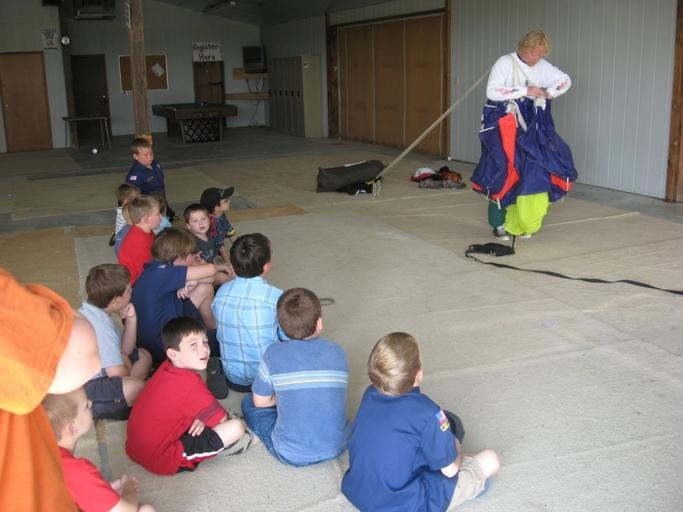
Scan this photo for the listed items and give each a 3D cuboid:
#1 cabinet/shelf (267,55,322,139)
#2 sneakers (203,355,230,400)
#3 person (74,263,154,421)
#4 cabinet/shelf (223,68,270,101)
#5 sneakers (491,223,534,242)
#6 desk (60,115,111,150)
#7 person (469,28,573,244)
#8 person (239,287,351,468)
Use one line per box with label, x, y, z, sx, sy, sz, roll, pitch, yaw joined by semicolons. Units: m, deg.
cabinet/shelf;-1.196;-4.276;14.193;0.748;2.107;2.441;-5;14;-24
sneakers;-0.652;0.639;2.779;0.099;0.099;0.250;-12;56;-8
person;-1.156;0.482;2.751;0.530;0.816;0.320;0;16;-23
cabinet/shelf;-3.026;-5.434;16.581;0.813;0.908;1.597;21;26;31
sneakers;1.668;-0.226;5.166;0.409;0.153;0.155;5;13;42
desk;-6.399;-3.103;13.378;1.320;0.887;1.020;-11;24;-34
person;1.642;-1.052;4.738;0.865;1.766;0.353;2;15;10
person;-0.205;0.522;2.327;0.287;0.747;0.471;-15;20;-41
